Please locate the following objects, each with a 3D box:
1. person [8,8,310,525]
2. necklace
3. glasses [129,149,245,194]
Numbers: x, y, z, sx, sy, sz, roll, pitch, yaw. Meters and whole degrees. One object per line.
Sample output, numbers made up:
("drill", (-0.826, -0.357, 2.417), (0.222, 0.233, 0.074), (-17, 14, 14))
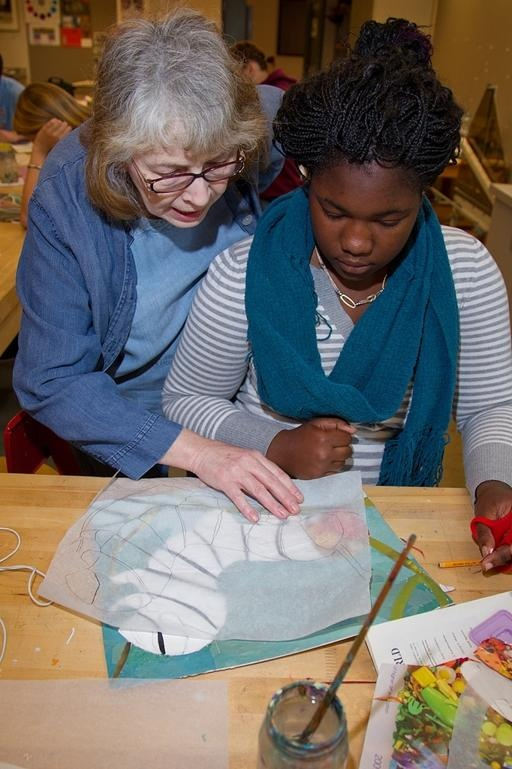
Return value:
("person", (-0.173, -0.186, 1.046), (0.495, 0.768, 0.538), (3, 26, 1))
("necklace", (0.168, -0.183, 1.122), (0.092, 0.125, 0.028), (-35, 12, -10))
("glasses", (-0.101, -0.321, 0.981), (0.158, 0.051, 0.051), (-7, 28, -21))
